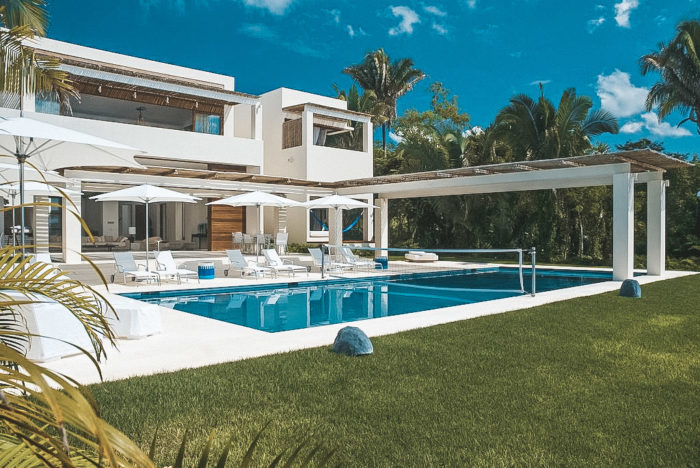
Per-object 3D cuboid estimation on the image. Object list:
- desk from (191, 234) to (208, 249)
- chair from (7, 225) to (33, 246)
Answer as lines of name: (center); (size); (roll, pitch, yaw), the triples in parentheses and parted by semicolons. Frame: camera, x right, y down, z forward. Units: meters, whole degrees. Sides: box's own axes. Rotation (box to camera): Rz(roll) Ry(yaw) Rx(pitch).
desk: (-7.469, 0.358, 27.169); (0.370, 0.529, 0.698); (-3, -3, 29)
chair: (-10.200, 0.043, 16.959); (0.773, 0.374, 1.027); (4, -2, -37)
